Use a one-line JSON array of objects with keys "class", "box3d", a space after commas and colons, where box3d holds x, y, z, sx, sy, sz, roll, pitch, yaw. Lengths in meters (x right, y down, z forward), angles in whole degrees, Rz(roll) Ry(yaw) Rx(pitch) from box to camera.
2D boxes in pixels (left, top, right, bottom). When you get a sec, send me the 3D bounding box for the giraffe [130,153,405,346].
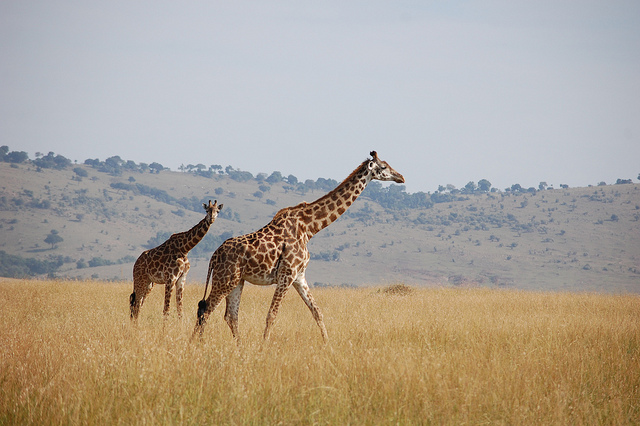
[{"class": "giraffe", "box3d": [-2.859, 1.639, 35.909, 11.255, 7.883, 2.931, -3, 6, 5]}]
